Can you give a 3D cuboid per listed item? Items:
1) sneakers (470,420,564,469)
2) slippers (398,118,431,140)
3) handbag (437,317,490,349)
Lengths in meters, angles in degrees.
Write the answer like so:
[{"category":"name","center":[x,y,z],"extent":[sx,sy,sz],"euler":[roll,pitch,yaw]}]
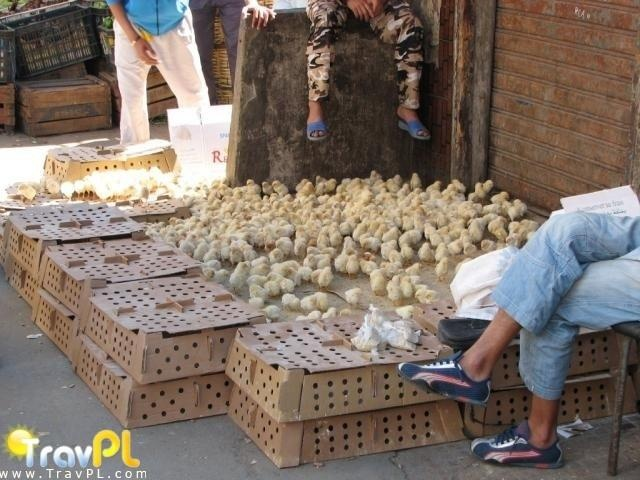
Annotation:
[{"category":"sneakers","center":[0.708,0.733,2.130],"extent":[0.345,0.120,0.136],"euler":[3,11,14]},{"category":"slippers","center":[0.765,-0.906,4.837],"extent":[0.120,0.097,0.324],"euler":[-21,31,-19]},{"category":"handbag","center":[0.549,0.350,2.299],"extent":[0.257,0.110,0.188],"euler":[0,18,5]}]
